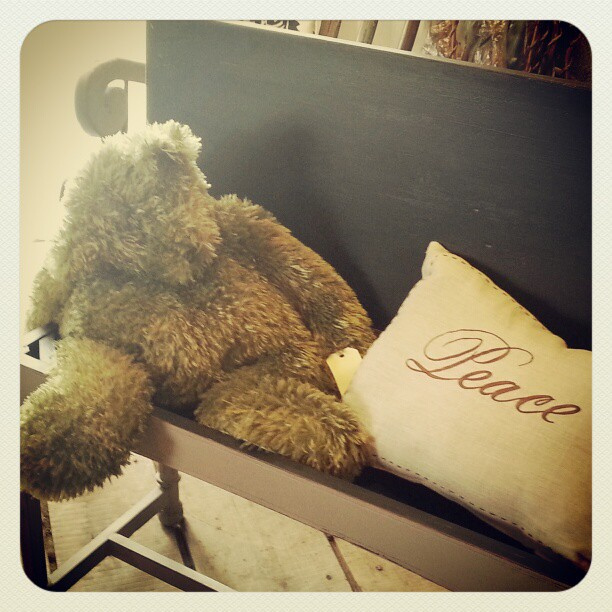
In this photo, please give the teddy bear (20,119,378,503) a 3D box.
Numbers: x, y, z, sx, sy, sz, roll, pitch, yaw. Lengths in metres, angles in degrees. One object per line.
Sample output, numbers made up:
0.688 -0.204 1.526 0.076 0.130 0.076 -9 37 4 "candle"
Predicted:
-0.212 0.017 1.317 0.773 0.745 0.405 7 20 0 "teddy bear"
